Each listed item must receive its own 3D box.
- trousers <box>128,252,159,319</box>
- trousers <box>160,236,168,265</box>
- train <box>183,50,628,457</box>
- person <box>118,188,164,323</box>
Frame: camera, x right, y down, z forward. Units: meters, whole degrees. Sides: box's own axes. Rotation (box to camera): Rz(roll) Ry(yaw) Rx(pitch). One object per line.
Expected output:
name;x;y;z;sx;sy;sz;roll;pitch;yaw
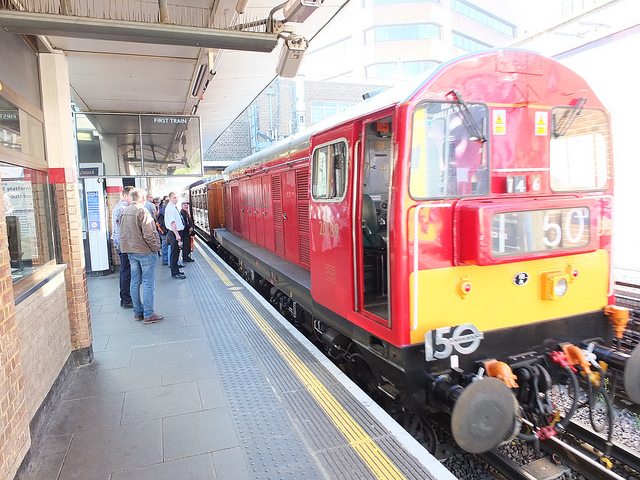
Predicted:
trousers;-2.895;0.730;6.530;0.411;1.111;0.667;-7;8;-33
trousers;-4.422;0.301;11.278;0.160;0.847;0.468;-5;8;-22
train;0.882;0.112;4.805;2.110;3.986;4.367;-8;9;-42
person;-2.885;0.278;6.383;0.662;2.175;0.455;3;9;36
